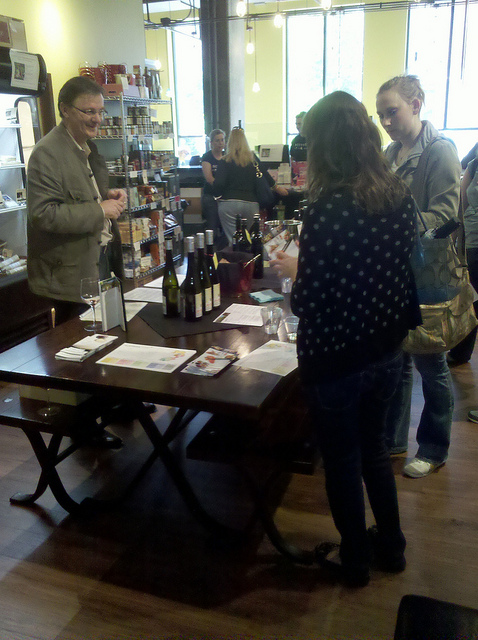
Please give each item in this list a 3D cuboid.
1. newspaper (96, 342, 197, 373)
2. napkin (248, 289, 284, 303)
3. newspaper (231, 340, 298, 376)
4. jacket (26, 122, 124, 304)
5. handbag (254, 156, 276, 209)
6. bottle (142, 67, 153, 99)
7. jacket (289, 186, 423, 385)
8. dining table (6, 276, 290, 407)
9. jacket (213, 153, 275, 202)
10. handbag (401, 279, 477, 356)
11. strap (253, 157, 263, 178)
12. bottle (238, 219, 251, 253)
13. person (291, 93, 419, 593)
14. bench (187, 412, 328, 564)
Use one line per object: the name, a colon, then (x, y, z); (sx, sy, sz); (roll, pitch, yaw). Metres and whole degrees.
newspaper: (-0.291, 0.117, 1.528); (0.276, 0.021, 0.187); (3, 13, 20)
napkin: (0.123, -0.108, 2.190); (0.081, 0.020, 0.081); (-8, 22, -27)
newspaper: (0.086, 0.110, 1.517); (0.201, 0.069, 0.211); (7, 21, 10)
jacket: (-0.878, -0.564, 2.606); (0.516, 0.948, 0.435); (-7, 13, -24)
handbag: (0.283, -1.655, 5.803); (0.232, 0.525, 0.146); (-10, 14, -35)
bottle: (-1.115, -2.895, 5.948); (0.109, 0.371, 0.183); (-3, 12, -8)
jacket: (0.316, -0.028, 1.297); (0.345, 0.416, 0.223); (5, 2, 1)
dining table: (-0.265, -0.016, 1.719); (0.917, 0.238, 0.922); (3, 13, 18)
jacket: (0.022, -1.763, 5.965); (0.658, 0.529, 0.484); (2, 23, 13)
handbag: (0.815, -0.002, 2.020); (0.318, 0.335, 0.248); (9, 21, 21)
strap: (0.212, -1.787, 5.728); (0.049, 0.193, 0.134); (-15, 6, -15)
bottle: (0.026, -0.435, 2.533); (0.063, 0.166, 0.162); (-1, 12, 4)
person: (0.316, 0.145, 1.377); (0.266, 1.417, 0.460); (8, 15, 38)
bench: (0.051, 0.579, 1.648); (0.241, 0.144, 0.578); (3, 9, 15)
